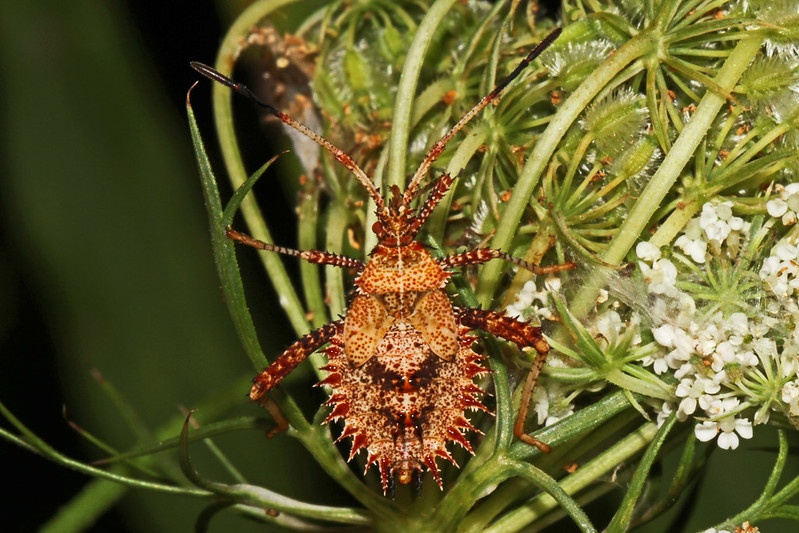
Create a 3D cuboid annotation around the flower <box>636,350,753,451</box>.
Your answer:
[{"bbox_3d":[1.418,0.627,4.707,0.449,0.505,0.136,13,20,12],"label":"flower"}]
